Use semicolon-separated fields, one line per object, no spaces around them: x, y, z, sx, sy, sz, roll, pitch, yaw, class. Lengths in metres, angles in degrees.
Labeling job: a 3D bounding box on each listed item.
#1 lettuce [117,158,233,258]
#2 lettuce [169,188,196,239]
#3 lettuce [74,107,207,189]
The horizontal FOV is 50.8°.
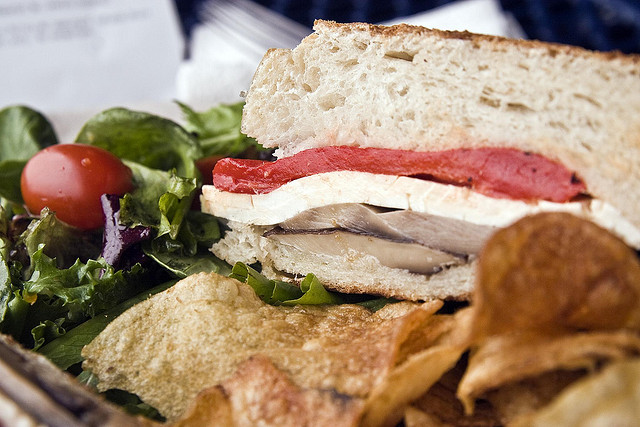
-0.551;0.045;2.498;0.380;0.115;0.368;24;18;-29;lettuce
-0.485;-0.018;2.476;0.038;0.029;0.269;31;50;-16;lettuce
-0.702;-0.277;2.668;0.380;0.125;0.378;23;20;-3;lettuce
